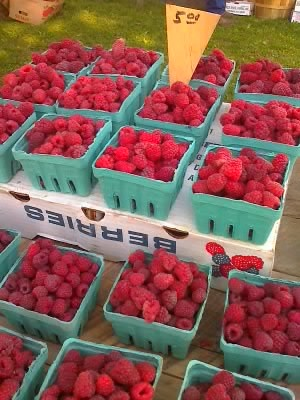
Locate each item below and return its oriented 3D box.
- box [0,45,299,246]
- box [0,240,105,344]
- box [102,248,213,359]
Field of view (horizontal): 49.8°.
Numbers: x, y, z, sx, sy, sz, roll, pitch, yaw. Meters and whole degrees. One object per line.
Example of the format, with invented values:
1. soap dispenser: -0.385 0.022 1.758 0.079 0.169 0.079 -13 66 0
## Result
1. box: 0.153 -0.306 2.245 1.838 0.768 1.507 15 42 14
2. box: -0.428 0.508 1.609 0.399 0.246 0.490 14 33 14
3. box: 0.036 0.517 1.428 0.373 0.223 0.458 12 35 17
